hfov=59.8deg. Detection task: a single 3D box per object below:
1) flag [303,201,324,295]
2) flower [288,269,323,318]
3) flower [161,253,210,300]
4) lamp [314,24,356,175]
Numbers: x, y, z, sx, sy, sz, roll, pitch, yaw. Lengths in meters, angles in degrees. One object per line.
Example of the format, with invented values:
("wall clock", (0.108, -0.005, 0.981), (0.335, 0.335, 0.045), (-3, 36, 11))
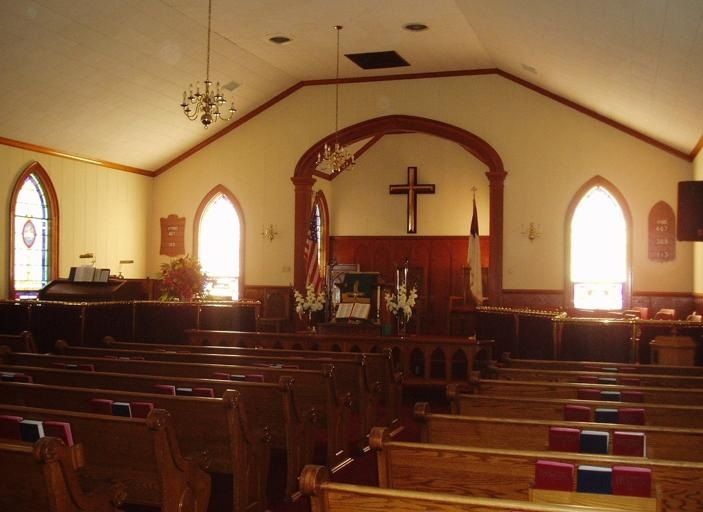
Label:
("flag", (-0.779, -0.223, 12.519), (0.210, 1.730, 0.320), (4, -1, 0))
("flower", (-0.850, 0.850, 11.663), (0.724, 0.988, 0.824), (3, 8, 14))
("flower", (-3.056, 0.278, 11.231), (0.798, 0.920, 0.752), (4, 8, 4))
("lamp", (-0.382, -3.117, 13.336), (0.759, 2.749, 0.856), (-1, -3, 11))
